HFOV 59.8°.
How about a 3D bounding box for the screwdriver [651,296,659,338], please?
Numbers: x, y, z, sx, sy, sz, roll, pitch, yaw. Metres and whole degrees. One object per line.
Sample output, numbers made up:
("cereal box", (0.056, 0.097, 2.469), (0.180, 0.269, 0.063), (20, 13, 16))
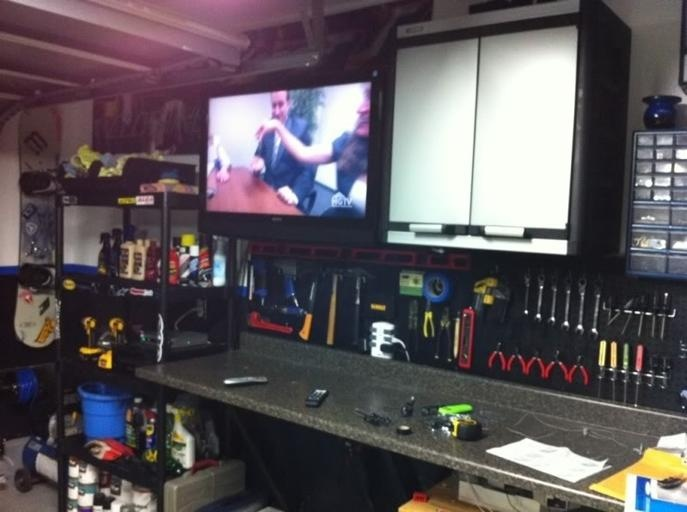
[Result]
("screwdriver", (1.401, 0.269, 2.688), (0.023, 0.186, 0.035), (1, 13, 12))

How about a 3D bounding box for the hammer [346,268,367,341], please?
("hammer", (0.074, 0.289, 3.375), (0.122, 0.458, 0.132), (3, 14, 21))

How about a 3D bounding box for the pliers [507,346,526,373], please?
("pliers", (0.859, 0.514, 2.964), (0.078, 0.115, 0.029), (5, 9, 21))

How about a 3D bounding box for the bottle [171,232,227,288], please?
("bottle", (-0.883, 0.029, 3.630), (0.297, 0.301, 0.162), (3, 2, -38))

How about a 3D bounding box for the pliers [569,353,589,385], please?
("pliers", (1.125, 0.535, 2.823), (0.085, 0.136, 0.040), (4, 14, 25))

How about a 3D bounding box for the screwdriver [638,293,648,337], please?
("screwdriver", (1.356, 0.274, 2.709), (0.028, 0.182, 0.036), (6, 15, 30))

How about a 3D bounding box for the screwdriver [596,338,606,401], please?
("screwdriver", (1.199, 0.515, 2.773), (0.039, 0.249, 0.042), (5, 8, 33))

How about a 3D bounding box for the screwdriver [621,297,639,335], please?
("screwdriver", (1.312, 0.278, 2.734), (0.067, 0.165, 0.023), (0, 13, 7))

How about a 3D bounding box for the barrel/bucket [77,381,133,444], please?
("barrel/bucket", (-1.496, 0.967, 3.743), (0.300, 0.258, 0.326), (3, -7, 0))

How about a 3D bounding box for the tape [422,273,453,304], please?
("tape", (0.493, 0.164, 3.108), (0.137, 0.146, 0.049), (10, 12, 40))

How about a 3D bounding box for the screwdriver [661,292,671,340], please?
("screwdriver", (1.442, 0.267, 2.672), (0.032, 0.205, 0.043), (6, 15, 30))

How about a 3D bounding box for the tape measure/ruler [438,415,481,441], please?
("tape measure/ruler", (0.505, 0.737, 2.594), (0.088, 0.046, 0.124), (-2, 5, -29))

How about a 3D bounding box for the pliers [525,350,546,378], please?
("pliers", (0.940, 0.525, 2.918), (0.124, 0.138, 0.018), (6, 8, 41))

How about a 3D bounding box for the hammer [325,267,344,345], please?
("hammer", (-0.070, 0.291, 3.465), (0.051, 0.433, 0.048), (3, -3, 41))

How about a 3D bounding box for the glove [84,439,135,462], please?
("glove", (-1.420, 1.163, 3.597), (0.151, 0.047, 0.157), (13, 4, 8))

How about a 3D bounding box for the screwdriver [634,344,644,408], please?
("screwdriver", (1.339, 0.538, 2.713), (0.040, 0.268, 0.080), (5, 15, 27))
